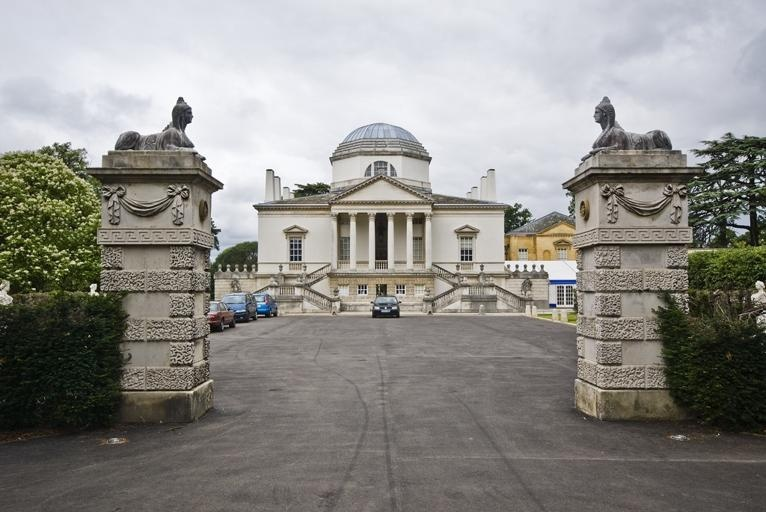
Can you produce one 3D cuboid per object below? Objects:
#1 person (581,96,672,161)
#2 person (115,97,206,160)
[{"bbox_3d":[5.298,-2.752,16.449,1.821,1.173,0.879,-2,3,-15],"label":"person"},{"bbox_3d":[-4.748,-2.774,16.413,1.775,1.275,0.947,2,6,12],"label":"person"}]
